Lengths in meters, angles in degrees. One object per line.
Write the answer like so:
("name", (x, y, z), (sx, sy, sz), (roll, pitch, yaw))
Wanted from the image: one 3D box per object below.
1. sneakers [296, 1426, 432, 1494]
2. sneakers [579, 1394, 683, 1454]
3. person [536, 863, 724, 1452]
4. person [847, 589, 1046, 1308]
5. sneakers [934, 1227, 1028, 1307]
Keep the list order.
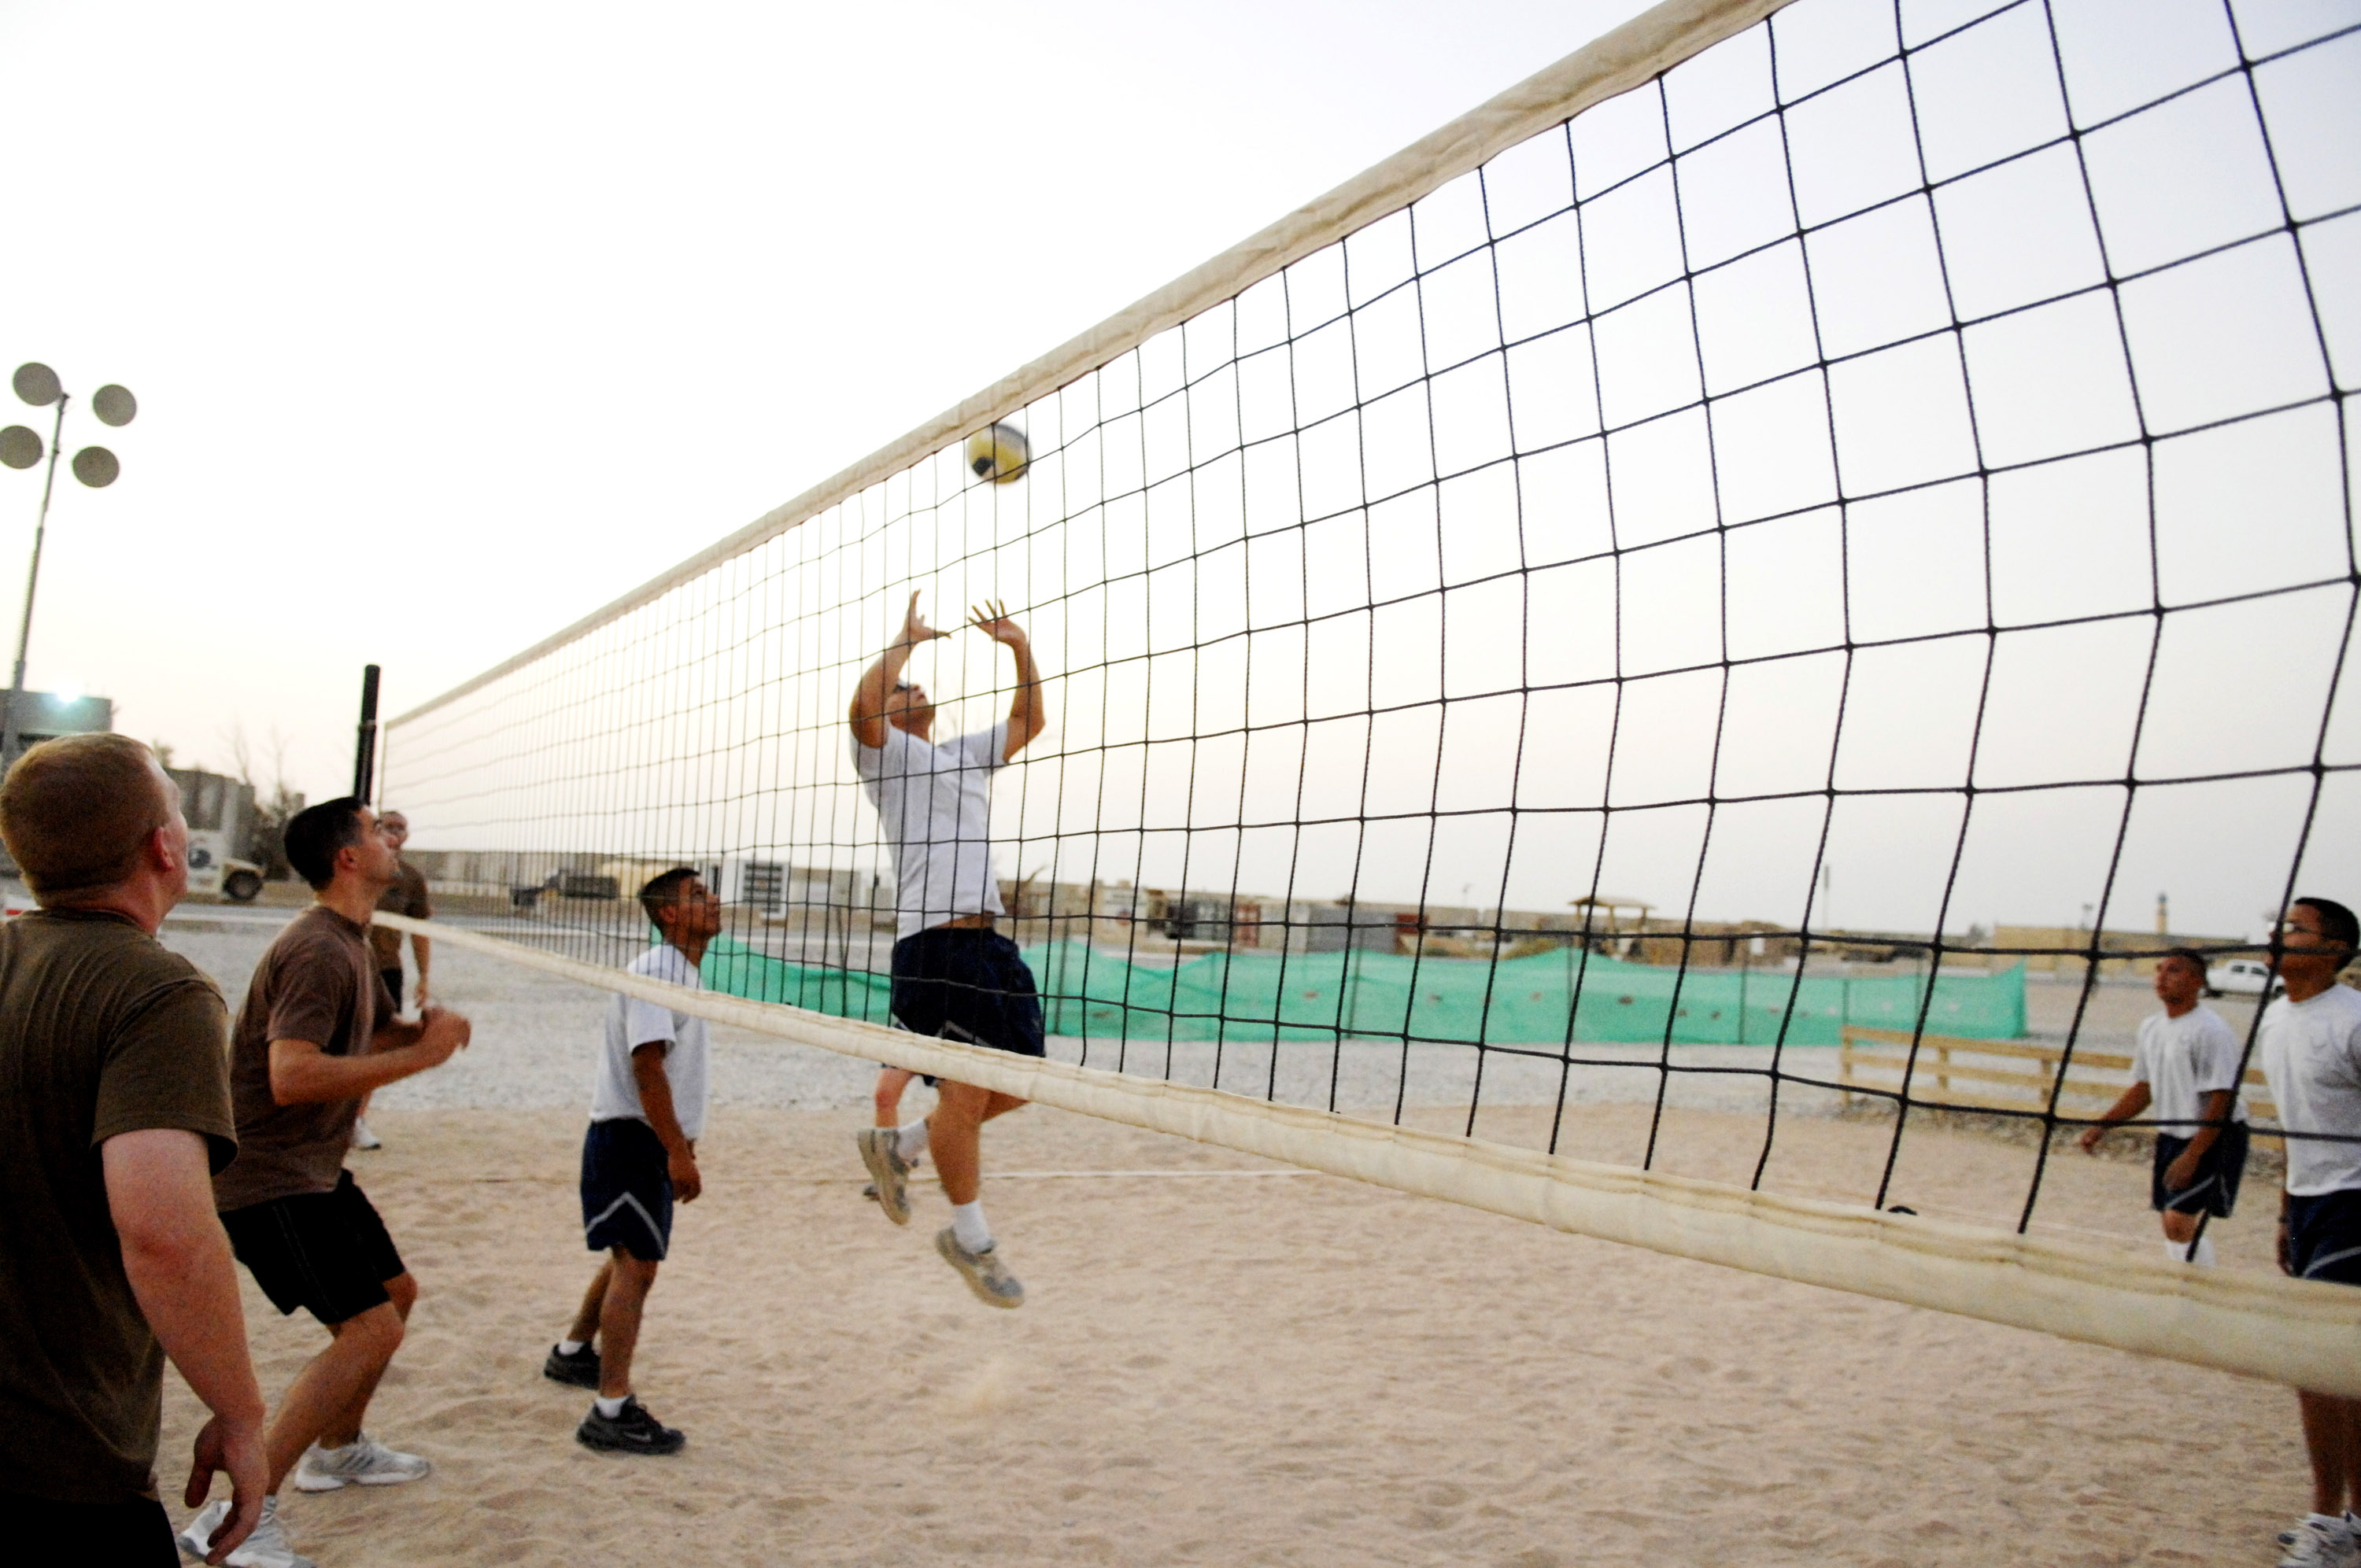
("sneakers", (-2.531, 2.057, 4.534), (0.445, 0.178, 0.152), (2, -1, -20))
("sneakers", (-1.813, 2.091, 4.821), (0.379, 0.167, 0.157), (5, -2, -17))
("person", (-1.794, 1.244, 4.854), (0.384, 1.872, 0.750), (5, -2, -19))
("person", (-0.800, 0.581, 5.028), (0.663, 2.243, 1.023), (5, -2, -37))
("sneakers", (-0.737, 1.726, 5.149), (0.269, 0.275, 0.475), (4, -2, -9))
